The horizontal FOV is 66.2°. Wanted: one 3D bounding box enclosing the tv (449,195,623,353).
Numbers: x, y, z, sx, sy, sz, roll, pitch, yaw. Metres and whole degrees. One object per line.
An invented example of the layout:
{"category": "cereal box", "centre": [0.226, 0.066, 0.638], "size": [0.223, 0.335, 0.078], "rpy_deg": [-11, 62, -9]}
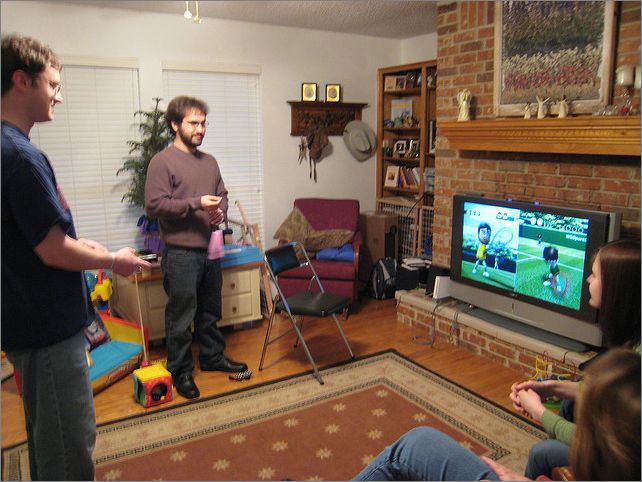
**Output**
{"category": "tv", "centre": [1.497, 0.205, 3.389], "size": [0.317, 0.841, 1.055], "rpy_deg": [-9, 14, -43]}

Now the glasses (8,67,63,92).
{"category": "glasses", "centre": [-1.132, -0.660, 1.980], "size": [0.093, 0.102, 0.240], "rpy_deg": [5, 16, 20]}

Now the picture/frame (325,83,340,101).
{"category": "picture/frame", "centre": [0.138, -1.732, 5.633], "size": [0.182, 0.196, 0.103], "rpy_deg": [-2, 14, -5]}

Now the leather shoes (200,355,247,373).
{"category": "leather shoes", "centre": [-0.735, 0.919, 3.738], "size": [0.382, 0.177, 0.137], "rpy_deg": [0, 0, -5]}

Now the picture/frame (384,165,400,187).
{"category": "picture/frame", "centre": [0.867, -0.817, 5.997], "size": [0.022, 0.288, 0.220], "rpy_deg": [-2, 12, -36]}

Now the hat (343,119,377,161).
{"category": "hat", "centre": [0.479, -1.225, 5.845], "size": [0.376, 0.449, 0.118], "rpy_deg": [-39, 26, -21]}

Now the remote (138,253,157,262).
{"category": "remote", "centre": [-1.418, 0.127, 4.066], "size": [0.091, 0.026, 0.087], "rpy_deg": [10, 12, 38]}

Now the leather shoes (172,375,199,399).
{"category": "leather shoes", "centre": [-0.935, 1.014, 3.417], "size": [0.095, 0.093, 0.220], "rpy_deg": [-5, 13, -38]}

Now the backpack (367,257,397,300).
{"category": "backpack", "centre": [0.660, 0.399, 5.247], "size": [0.255, 0.537, 0.366], "rpy_deg": [11, 10, 40]}
